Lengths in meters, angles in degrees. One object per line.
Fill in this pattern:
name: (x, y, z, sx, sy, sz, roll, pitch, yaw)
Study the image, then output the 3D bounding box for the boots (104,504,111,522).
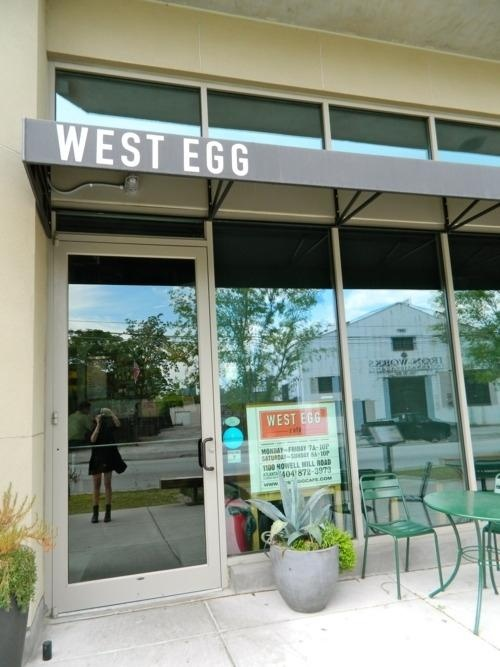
boots: (-1.105, 1.389, 4.139, 0.047, 0.118, 0.118, 0, -15, 2)

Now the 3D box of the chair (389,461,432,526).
chair: (1.524, 1.540, 5.289, 0.425, 0.780, 0.407, 0, -9, 8)

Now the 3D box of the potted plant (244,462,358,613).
potted plant: (0.325, 1.528, 4.166, 0.785, 0.963, 0.918, 2, -7, -13)
